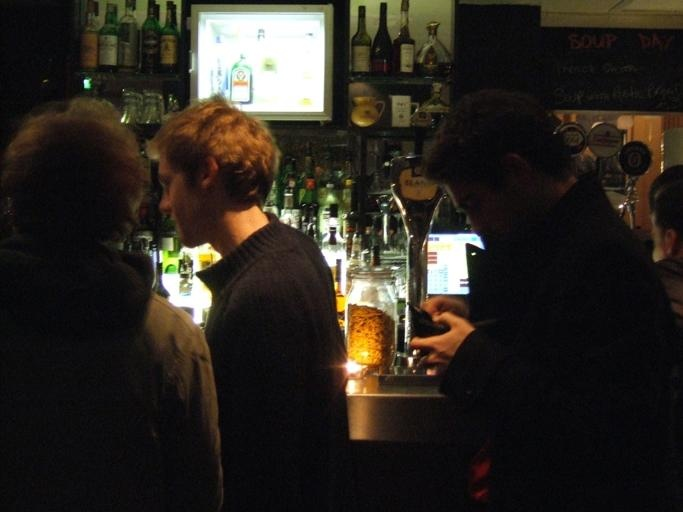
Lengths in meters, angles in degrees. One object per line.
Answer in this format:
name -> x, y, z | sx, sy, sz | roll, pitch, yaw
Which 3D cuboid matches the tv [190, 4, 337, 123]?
tv -> -0.360, -0.895, 3.200 | 0.817, 0.680, 0.312 | 0, 0, 0
